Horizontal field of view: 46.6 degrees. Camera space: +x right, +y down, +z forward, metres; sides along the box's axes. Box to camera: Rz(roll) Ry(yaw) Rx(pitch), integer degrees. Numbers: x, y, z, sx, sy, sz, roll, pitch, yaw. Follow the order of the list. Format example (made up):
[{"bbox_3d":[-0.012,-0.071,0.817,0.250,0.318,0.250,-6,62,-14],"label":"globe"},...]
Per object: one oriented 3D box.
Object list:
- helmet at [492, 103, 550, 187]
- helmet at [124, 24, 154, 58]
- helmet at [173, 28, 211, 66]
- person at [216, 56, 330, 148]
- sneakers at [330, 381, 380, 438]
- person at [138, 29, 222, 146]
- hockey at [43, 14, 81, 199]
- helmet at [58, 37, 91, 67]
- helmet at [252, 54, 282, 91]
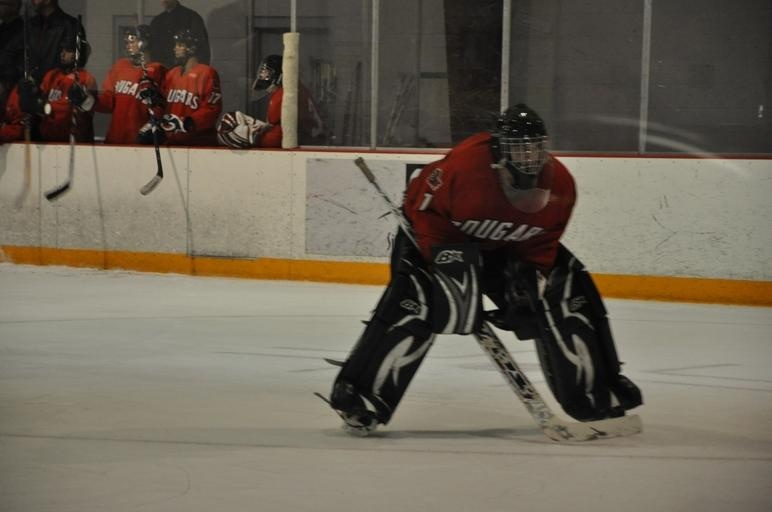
[{"bbox_3d":[0.841,-0.692,5.617,0.356,0.519,0.163,4,10,4],"label":"helmet"},{"bbox_3d":[-2.325,-2.052,8.446,0.344,0.290,0.273,14,17,38],"label":"helmet"},{"bbox_3d":[-1.835,-1.980,8.446,0.388,0.410,0.306,2,17,-12],"label":"helmet"},{"bbox_3d":[-1.047,-1.409,8.115,0.959,0.866,0.385,7,10,22],"label":"person"},{"bbox_3d":[-0.199,0.955,5.561,0.371,0.131,0.279,39,7,-12],"label":"sneakers"},{"bbox_3d":[-1.909,-1.591,8.337,0.760,1.087,0.436,2,10,-10],"label":"person"},{"bbox_3d":[-3.060,-1.418,8.603,0.303,1.764,0.423,4,10,0],"label":"hockey"},{"bbox_3d":[-3.012,-1.966,8.627,0.340,0.265,0.222,4,7,0],"label":"helmet"},{"bbox_3d":[-1.050,-1.679,8.157,0.379,0.298,0.267,6,7,9],"label":"helmet"}]
